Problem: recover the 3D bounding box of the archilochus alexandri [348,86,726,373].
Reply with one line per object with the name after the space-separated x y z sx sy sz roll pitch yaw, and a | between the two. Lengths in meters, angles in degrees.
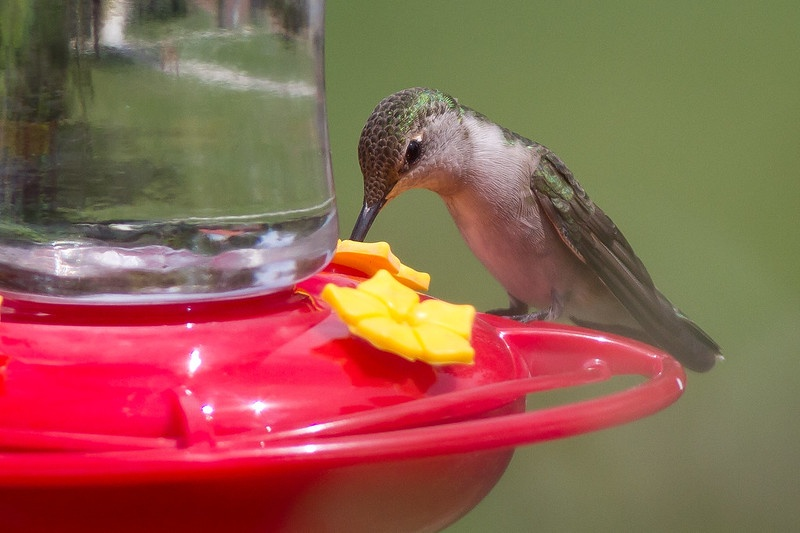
0.190 -0.058 1.295 0.589 0.294 0.199 4 0 -33 | archilochus alexandri
